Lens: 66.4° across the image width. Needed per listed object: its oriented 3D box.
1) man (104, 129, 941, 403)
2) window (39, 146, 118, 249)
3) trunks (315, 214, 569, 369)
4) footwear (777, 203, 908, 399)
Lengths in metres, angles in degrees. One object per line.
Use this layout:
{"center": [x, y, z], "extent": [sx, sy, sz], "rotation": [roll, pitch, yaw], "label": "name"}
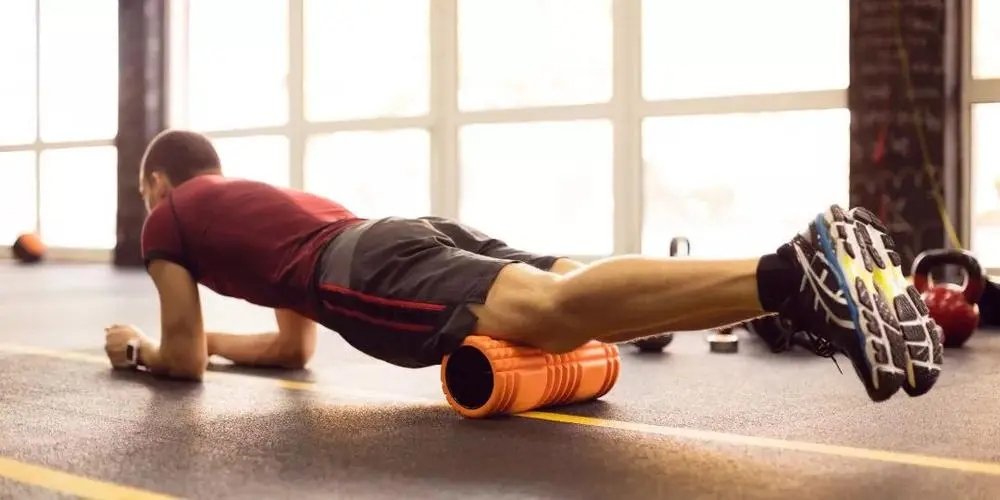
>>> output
{"center": [-0.380, 0.023, 4.826], "extent": [5.506, 1.356, 1.343], "rotation": [0, -6, 24], "label": "man"}
{"center": [-6.454, -0.886, 11.810], "extent": [1.851, 1.738, 0.135], "rotation": [2, 5, 18], "label": "window"}
{"center": [-0.439, 0.208, 4.399], "extent": [1.452, 0.500, 0.760], "rotation": [-4, 5, 28], "label": "trunks"}
{"center": [1.755, 0.266, 3.954], "extent": [0.625, 0.994, 0.281], "rotation": [0, 12, 17], "label": "footwear"}
